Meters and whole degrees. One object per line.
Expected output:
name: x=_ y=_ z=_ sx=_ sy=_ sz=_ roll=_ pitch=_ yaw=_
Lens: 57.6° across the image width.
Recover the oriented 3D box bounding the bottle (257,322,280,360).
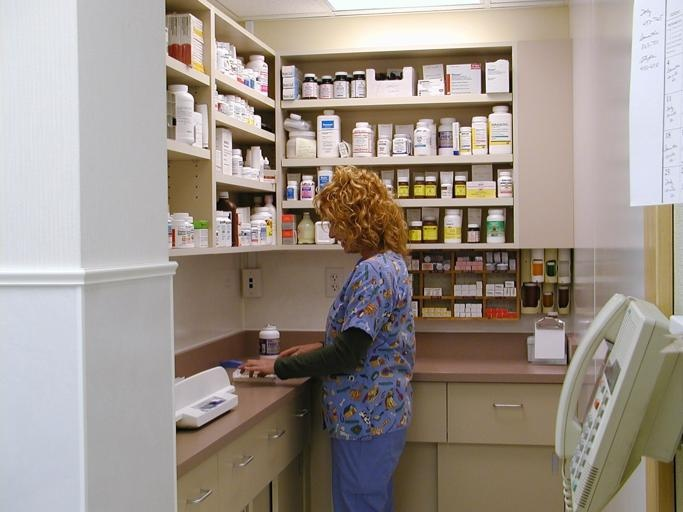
bottle: x=-0.343 y=0.408 z=2.963 sx=0.093 sy=0.171 sz=0.098 roll=2 pitch=19 yaw=-1

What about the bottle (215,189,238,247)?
bottle: x=-0.473 y=-0.154 z=2.592 sx=0.088 sy=0.234 sz=0.183 roll=-3 pitch=5 yaw=-9

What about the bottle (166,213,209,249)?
bottle: x=-0.564 y=-0.086 z=2.233 sx=0.095 sy=0.134 sz=0.343 roll=-2 pitch=5 yaw=3

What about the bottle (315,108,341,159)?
bottle: x=-0.096 y=-0.603 z=3.039 sx=0.115 sy=0.196 sz=0.125 roll=1 pitch=11 yaw=0

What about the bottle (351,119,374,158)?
bottle: x=0.104 y=-0.553 z=2.959 sx=0.132 sy=0.252 sz=0.143 roll=1 pitch=-2 yaw=0

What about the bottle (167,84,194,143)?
bottle: x=-0.594 y=-0.509 z=2.263 sx=0.112 sy=0.216 sz=0.115 roll=2 pitch=8 yaw=0

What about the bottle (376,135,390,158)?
bottle: x=0.207 y=-0.524 z=2.988 sx=0.078 sy=0.126 sz=0.084 roll=0 pitch=-2 yaw=0

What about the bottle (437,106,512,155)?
bottle: x=0.646 y=-0.591 z=2.951 sx=0.215 sy=0.171 sz=0.081 roll=3 pitch=6 yaw=8

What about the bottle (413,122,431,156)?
bottle: x=0.391 y=-0.558 z=2.972 sx=0.082 sy=0.165 sz=0.082 roll=-2 pitch=12 yaw=0
